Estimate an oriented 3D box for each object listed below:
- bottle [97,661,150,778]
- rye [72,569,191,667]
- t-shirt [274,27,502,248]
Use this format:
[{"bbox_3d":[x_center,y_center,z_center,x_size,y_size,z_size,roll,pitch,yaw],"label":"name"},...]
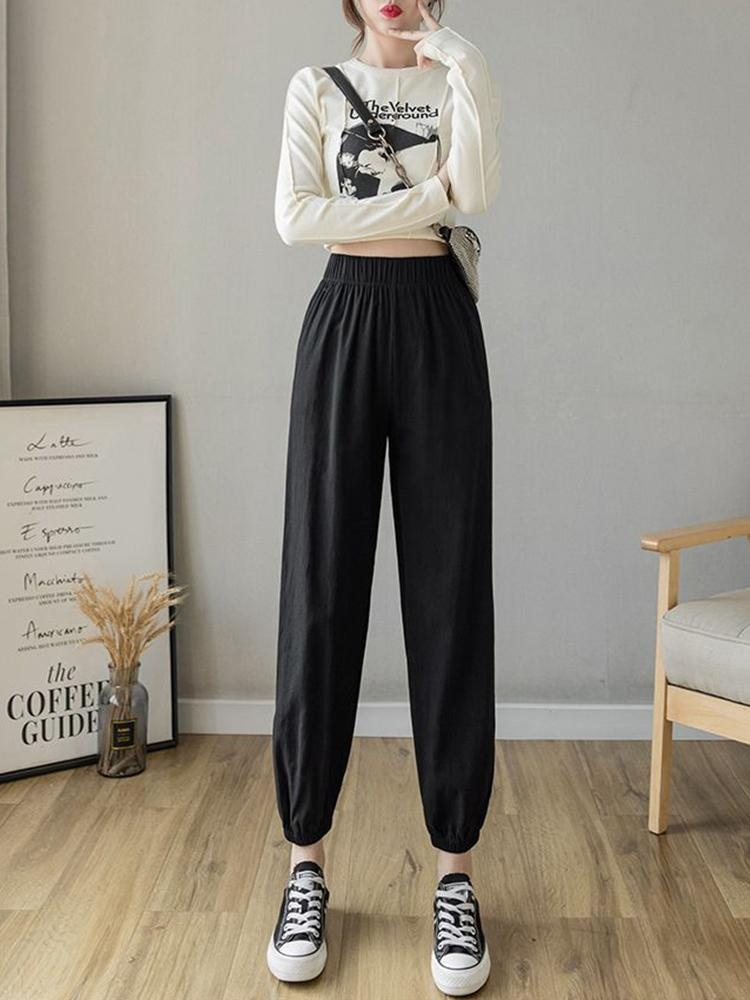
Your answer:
[{"bbox_3d":[-0.590,0.508,2.128,0.119,0.247,0.130,0,7,0],"label":"bottle"},{"bbox_3d":[-0.580,0.238,2.148,0.200,0.264,0.196,10,-6,-33],"label":"rye"},{"bbox_3d":[0.023,-0.539,1.493,0.331,0.450,0.213,6,-7,7],"label":"t-shirt"}]
